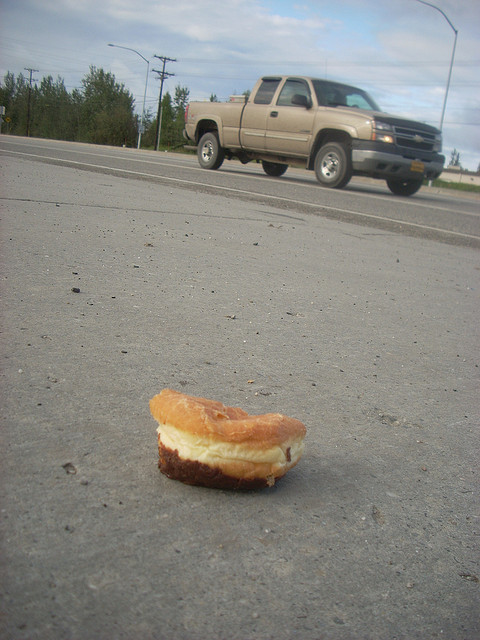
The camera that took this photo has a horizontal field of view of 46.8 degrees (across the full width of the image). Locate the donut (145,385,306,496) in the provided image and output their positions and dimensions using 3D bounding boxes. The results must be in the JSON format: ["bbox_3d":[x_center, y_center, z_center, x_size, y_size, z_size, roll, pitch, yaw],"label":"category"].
[{"bbox_3d":[-0.034,0.331,1.506,0.437,0.195,0.244,5,11,-7],"label":"donut"}]

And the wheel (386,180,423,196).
[{"bbox_3d":[3.885,-3.142,13.150,0.768,0.356,0.611,9,11,17],"label":"wheel"}]

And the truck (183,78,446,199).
[{"bbox_3d":[1.367,-4.333,12.983,2.582,2.366,6.247,-5,15,-44],"label":"truck"}]

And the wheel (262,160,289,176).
[{"bbox_3d":[0.954,-4.206,15.502,0.652,0.372,1.029,6,11,1],"label":"wheel"}]

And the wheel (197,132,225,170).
[{"bbox_3d":[-0.695,-4.293,14.144,0.474,0.888,1.091,-1,12,-30],"label":"wheel"}]

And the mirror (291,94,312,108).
[{"bbox_3d":[1.287,-4.566,11.517,0.456,0.233,0.188,0,12,-29],"label":"mirror"}]

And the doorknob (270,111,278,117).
[{"bbox_3d":[0.755,-4.539,12.219,0.235,0.131,0.032,16,14,42],"label":"doorknob"}]
